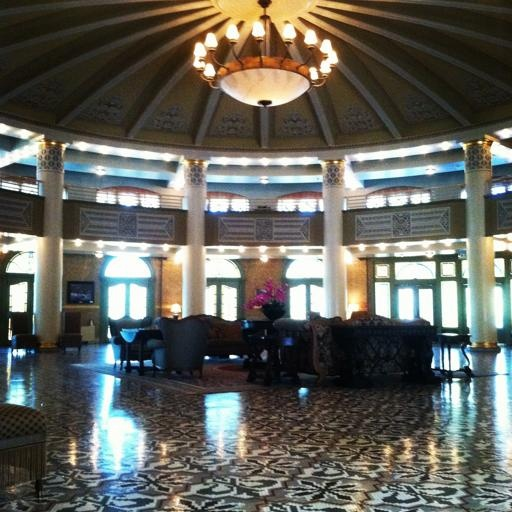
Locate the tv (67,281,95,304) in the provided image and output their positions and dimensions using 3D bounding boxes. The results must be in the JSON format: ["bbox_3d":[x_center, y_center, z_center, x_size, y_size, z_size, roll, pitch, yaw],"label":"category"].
[{"bbox_3d":[-6.174,1.282,18.614,1.094,0.782,0.098,2,-7,-27],"label":"tv"}]

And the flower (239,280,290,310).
[{"bbox_3d":[0.171,0.619,8.935,0.673,0.488,0.556,-1,-8,2],"label":"flower"}]

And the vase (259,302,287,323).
[{"bbox_3d":[0.303,0.939,8.939,0.441,0.222,0.373,0,-9,1],"label":"vase"}]

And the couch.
[{"bbox_3d":[-0.042,1.530,9.209,3.847,0.972,5.764,5,-8,-37],"label":"couch"}]
